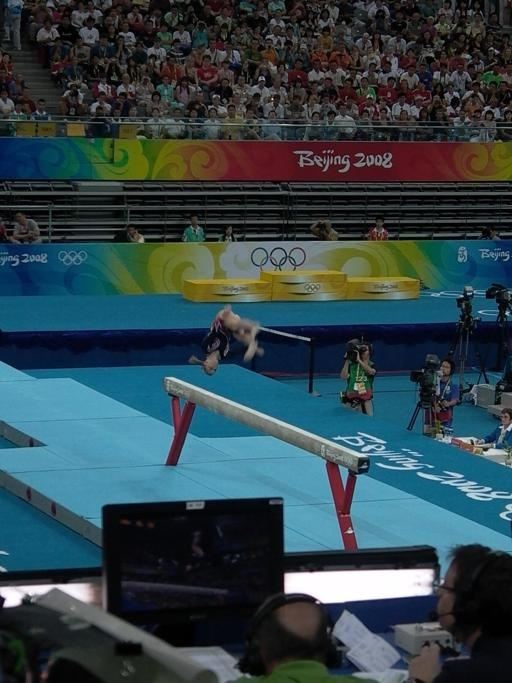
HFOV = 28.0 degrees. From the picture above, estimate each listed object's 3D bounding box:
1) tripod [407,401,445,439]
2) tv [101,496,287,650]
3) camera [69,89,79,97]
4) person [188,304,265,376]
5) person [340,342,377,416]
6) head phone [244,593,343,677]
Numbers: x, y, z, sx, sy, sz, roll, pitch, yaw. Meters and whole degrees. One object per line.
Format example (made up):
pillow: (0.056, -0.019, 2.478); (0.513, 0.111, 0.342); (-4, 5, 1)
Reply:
tripod: (1.900, 0.824, 11.096); (0.289, 0.426, 0.498); (3, 14, 5)
tv: (-0.185, 0.650, 2.993); (0.537, 0.332, 0.041); (1, -8, -21)
camera: (-3.180, -4.272, 17.830); (0.109, 0.110, 0.094); (-23, 24, -33)
person: (-0.317, -0.015, 9.118); (0.555, 0.267, 0.866); (41, 7, -10)
person: (1.137, 0.416, 11.393); (0.366, 0.879, 0.409); (3, 15, 5)
head phone: (0.090, 0.673, 2.346); (0.200, 0.168, 0.238); (2, -21, -11)
